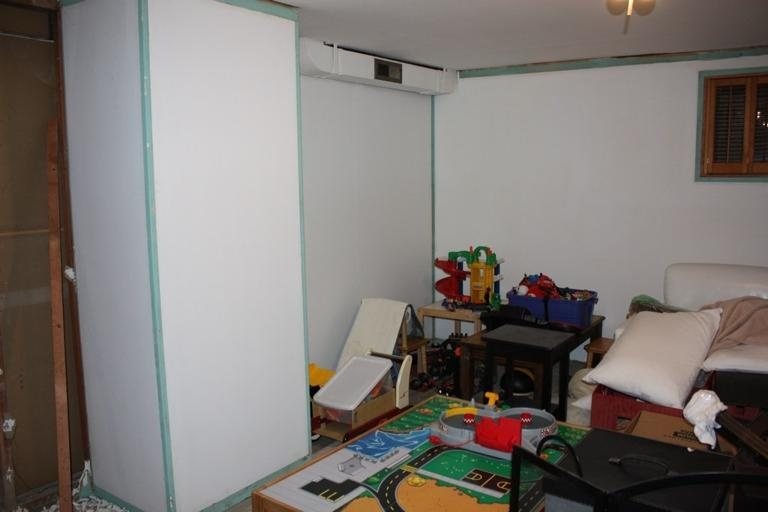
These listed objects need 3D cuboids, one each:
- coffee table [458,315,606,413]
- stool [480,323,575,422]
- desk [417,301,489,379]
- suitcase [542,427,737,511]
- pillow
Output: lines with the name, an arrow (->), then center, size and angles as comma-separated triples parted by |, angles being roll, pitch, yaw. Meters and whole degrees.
coffee table -> 1.161, 0.868, 4.656 | 0.681, 0.430, 0.885 | -1, 3, 21
stool -> 1.097, 0.874, 4.675 | 0.610, 0.888, 0.752 | 3, 2, 28
desk -> 0.785, 0.793, 5.947 | 0.721, 0.680, 0.534 | 3, 4, 41
suitcase -> 1.142, 0.932, 2.544 | 0.389, 0.132, 0.427 | 5, 11, 41
pillow -> 1.812, 0.559, 3.936 | 0.567, 0.257, 0.938 | 0, 28, 43
